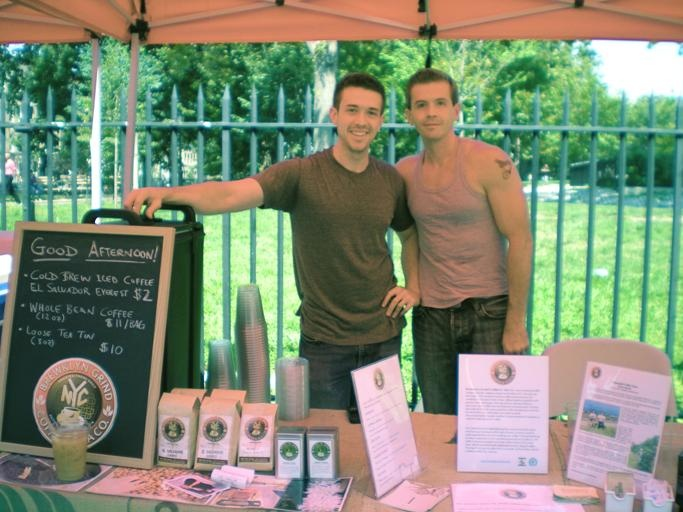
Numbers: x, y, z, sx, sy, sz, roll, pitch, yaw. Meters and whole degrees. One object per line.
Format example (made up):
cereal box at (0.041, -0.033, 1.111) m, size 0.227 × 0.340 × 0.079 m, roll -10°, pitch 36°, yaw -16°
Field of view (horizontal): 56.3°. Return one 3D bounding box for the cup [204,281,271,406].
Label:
cup at (-0.391, 0.340, 2.432) m, size 0.235 × 0.457 × 0.258 m, roll -2°, pitch 3°, yaw -9°

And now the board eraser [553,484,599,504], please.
board eraser at (0.730, 0.738, 1.995) m, size 0.068 × 0.020 × 0.069 m, roll 1°, pitch 6°, yaw 10°
